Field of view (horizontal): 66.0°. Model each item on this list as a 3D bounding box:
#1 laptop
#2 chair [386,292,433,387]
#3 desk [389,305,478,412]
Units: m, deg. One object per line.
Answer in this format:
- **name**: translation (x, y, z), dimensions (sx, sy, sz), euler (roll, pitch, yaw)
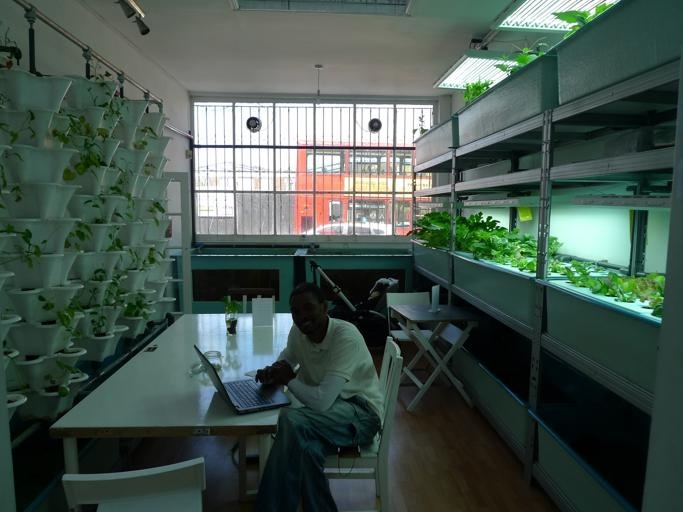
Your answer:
- **laptop**: translation (-0.585, 0.726, 3.116), dimensions (0.415, 0.267, 0.461), euler (-6, 15, -34)
- **chair**: translation (0.680, 0.712, 5.842), dimensions (0.577, 0.844, 0.606), euler (-1, 1, -3)
- **desk**: translation (0.924, 0.888, 5.426), dimensions (0.840, 1.084, 1.068), euler (0, 3, 1)
